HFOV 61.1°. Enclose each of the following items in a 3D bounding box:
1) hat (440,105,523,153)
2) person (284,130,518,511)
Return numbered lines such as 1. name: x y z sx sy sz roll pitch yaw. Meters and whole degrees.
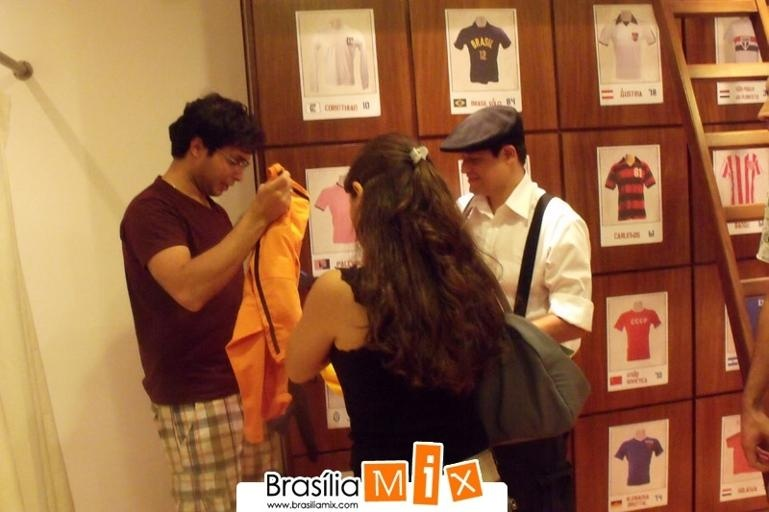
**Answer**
1. hat: 0.465 -0.596 3.046 0.273 0.115 0.241 -16 18 -14
2. person: 0.048 0.235 2.555 0.816 1.319 0.230 -8 2 -9
